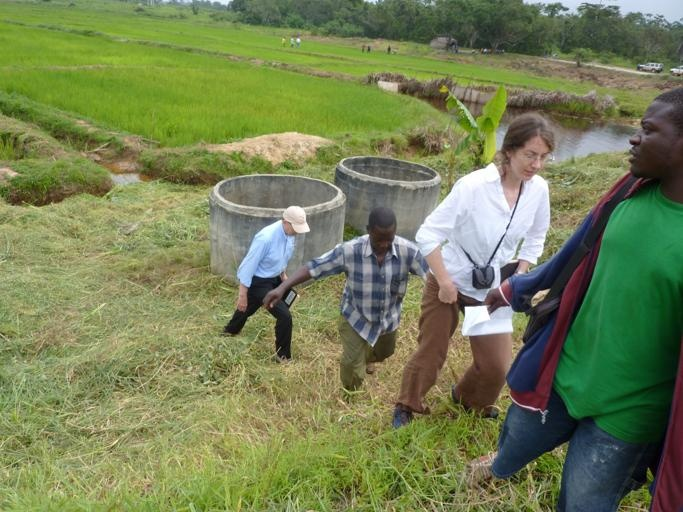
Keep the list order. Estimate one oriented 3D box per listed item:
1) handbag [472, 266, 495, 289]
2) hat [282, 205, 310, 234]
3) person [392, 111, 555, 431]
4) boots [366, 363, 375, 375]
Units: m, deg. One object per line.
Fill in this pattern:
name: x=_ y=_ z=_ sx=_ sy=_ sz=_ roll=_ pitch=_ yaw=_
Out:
handbag: x=1.000 y=0.147 z=3.923 sx=0.151 sy=0.149 sz=0.083 roll=-4 pitch=9 yaw=-15
hat: x=-0.424 y=-0.344 z=5.234 sx=0.297 sy=0.170 sz=0.204 roll=38 pitch=33 yaw=21
person: x=0.995 y=0.213 z=4.079 sx=1.009 sy=2.463 sz=0.956 roll=5 pitch=18 yaw=1
boots: x=0.266 y=1.030 z=5.063 sx=0.060 sy=0.106 sz=0.111 roll=-2 pitch=11 yaw=-12
